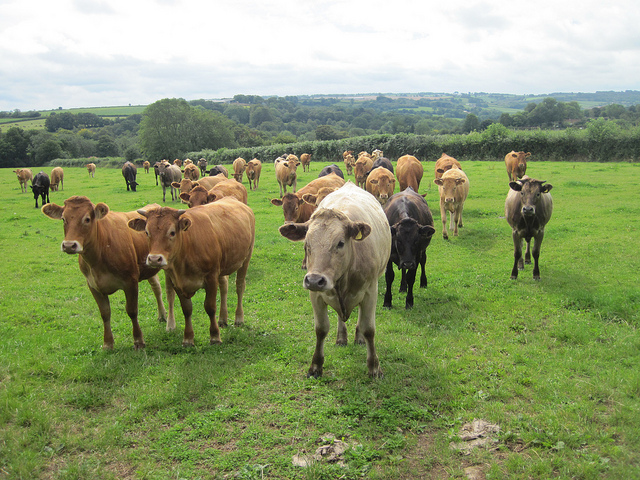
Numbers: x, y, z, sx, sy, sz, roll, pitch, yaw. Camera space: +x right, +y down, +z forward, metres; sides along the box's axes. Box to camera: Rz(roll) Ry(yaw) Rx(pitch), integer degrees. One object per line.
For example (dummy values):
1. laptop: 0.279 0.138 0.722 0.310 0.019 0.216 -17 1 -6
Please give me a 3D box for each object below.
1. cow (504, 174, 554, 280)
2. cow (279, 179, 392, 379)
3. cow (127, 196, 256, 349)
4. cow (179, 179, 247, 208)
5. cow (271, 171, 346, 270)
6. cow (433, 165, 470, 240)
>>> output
1. cow: 5.619 -0.358 14.165 1.053 2.678 1.303 4 12 23
2. cow: 0.486 0.874 9.825 1.575 3.307 2.860 3 12 16
3. cow: -2.551 0.664 11.385 1.319 3.322 4.463 1 4 11
4. cow: -2.961 -1.367 14.953 0.714 1.377 2.473 1 10 16
5. cow: -0.555 -1.188 17.301 1.283 2.724 4.729 -3 11 11
6. cow: 4.663 -1.296 18.585 0.907 2.284 2.056 3 12 19
